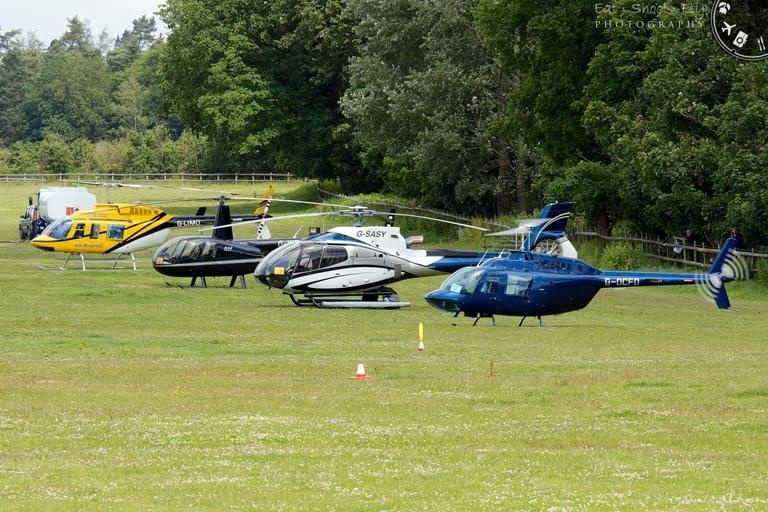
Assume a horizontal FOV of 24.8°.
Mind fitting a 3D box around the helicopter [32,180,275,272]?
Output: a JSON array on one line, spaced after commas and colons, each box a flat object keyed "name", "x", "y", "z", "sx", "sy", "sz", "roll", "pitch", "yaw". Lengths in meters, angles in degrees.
[{"name": "helicopter", "x": -13.907, "y": -1.380, "z": 98.110, "sx": 16.441, "sy": 4.139, "sz": 12.560, "roll": 2, "pitch": 1, "yaw": -1}]

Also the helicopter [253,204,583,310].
[{"name": "helicopter", "x": 1.761, "y": -0.158, "z": 87.541, "sx": 16.139, "sy": 5.188, "sz": 10.019, "roll": 1, "pitch": 5, "yaw": 12}]

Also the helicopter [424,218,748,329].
[{"name": "helicopter", "x": 9.620, "y": 1.272, "z": 83.686, "sx": 15.253, "sy": 4.365, "sz": 1.368, "roll": 1, "pitch": 3, "yaw": -7}]
